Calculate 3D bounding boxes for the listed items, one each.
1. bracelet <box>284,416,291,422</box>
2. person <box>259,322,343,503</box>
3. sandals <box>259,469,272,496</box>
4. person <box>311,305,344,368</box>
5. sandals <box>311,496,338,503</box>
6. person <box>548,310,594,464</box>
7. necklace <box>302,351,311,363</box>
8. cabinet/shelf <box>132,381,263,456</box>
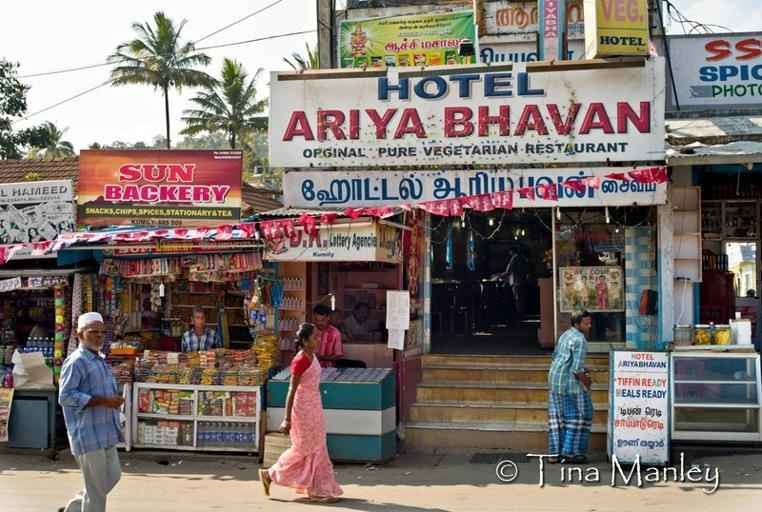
[{"bbox_3d":[-1.405,2.437,16.627,0.078,0.072,0.071,-1,-9,3],"label":"bracelet"},{"bbox_3d":[-1.293,2.383,17.006,1.260,2.562,0.802,0,-1,-26],"label":"person"},{"bbox_3d":[-1.769,3.415,16.987,0.208,0.460,0.159,-12,13,-5],"label":"sandals"},{"bbox_3d":[-0.942,1.392,19.328,0.555,1.033,0.534,4,2,4],"label":"person"},{"bbox_3d":[-0.854,3.669,16.833,0.319,0.120,0.124,-2,-3,0],"label":"sandals"},{"bbox_3d":[3.068,2.120,18.199,0.824,2.439,0.671,-1,0,41],"label":"person"},{"bbox_3d":[-1.110,1.513,16.739,0.114,0.149,0.056,-15,-9,-37],"label":"necklace"},{"bbox_3d":[-3.086,2.787,19.229,2.241,1.217,0.737,1,-1,10],"label":"cabinet/shelf"}]
